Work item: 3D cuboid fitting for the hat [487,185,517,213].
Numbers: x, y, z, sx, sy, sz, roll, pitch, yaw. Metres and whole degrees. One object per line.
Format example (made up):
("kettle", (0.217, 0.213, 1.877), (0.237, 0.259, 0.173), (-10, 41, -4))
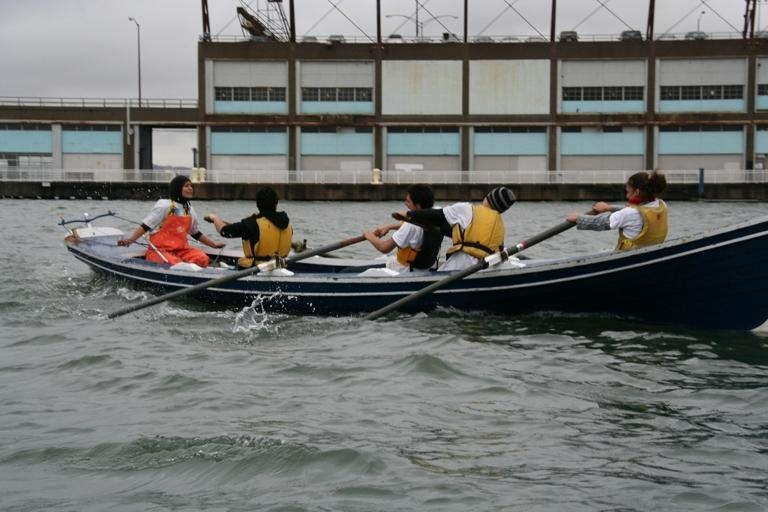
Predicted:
("hat", (2.200, -1.048, 20.751), (0.527, 0.408, 0.625), (-12, -13, 34))

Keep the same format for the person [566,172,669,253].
("person", (4.291, -0.833, 20.079), (1.419, 1.269, 0.613), (0, -1, 6))

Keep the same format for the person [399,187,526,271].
("person", (1.507, -0.505, 20.563), (1.674, 1.494, 0.641), (0, -1, 6))
